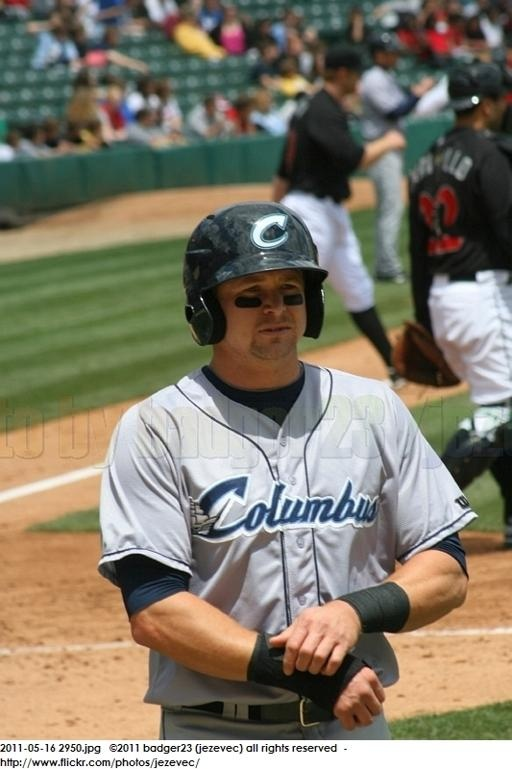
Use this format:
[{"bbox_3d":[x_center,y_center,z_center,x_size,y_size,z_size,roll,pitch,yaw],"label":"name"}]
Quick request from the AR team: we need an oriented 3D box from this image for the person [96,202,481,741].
[{"bbox_3d":[0.040,0.106,1.399,0.521,0.812,0.506,8,16,34],"label":"person"}]

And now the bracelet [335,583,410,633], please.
[{"bbox_3d":[0.176,0.354,1.324,0.114,0.060,0.044,-2,-30,-17],"label":"bracelet"}]

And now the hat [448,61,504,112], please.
[{"bbox_3d":[0.912,-1.211,3.413,0.239,0.193,0.171,1,13,9],"label":"hat"}]

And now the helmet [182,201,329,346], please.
[{"bbox_3d":[0.024,-0.185,1.572,0.282,0.233,0.284,-2,0,-26],"label":"helmet"}]
